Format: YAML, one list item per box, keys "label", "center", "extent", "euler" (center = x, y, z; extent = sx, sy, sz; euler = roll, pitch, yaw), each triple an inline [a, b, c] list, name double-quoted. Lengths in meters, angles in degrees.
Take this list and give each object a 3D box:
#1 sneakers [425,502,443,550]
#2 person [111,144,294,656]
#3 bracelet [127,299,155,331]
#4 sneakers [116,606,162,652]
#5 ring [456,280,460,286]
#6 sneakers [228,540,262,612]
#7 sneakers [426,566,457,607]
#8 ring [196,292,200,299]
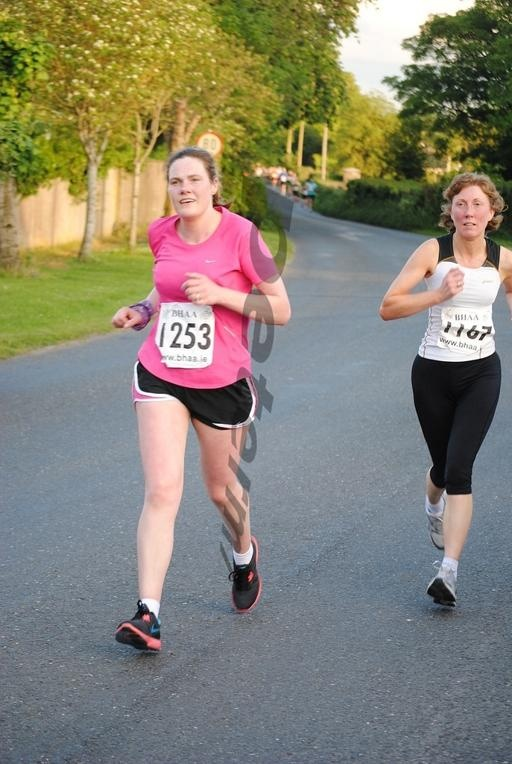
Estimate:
- label: "sneakers"
  center: [0.934, 0.748, 3.607]
  extent: [0.089, 0.228, 0.099]
  euler: [-8, 6, 6]
- label: "person"
  center: [-0.193, 0.043, 2.539]
  extent: [0.642, 1.317, 0.530]
  euler: [3, -1, -23]
- label: "bracelet"
  center: [-0.461, -0.276, 2.801]
  extent: [0.116, 0.132, 0.067]
  euler: [-1, -2, -8]
- label: "sneakers"
  center: [-0.377, 0.814, 2.262]
  extent: [0.082, 0.130, 0.141]
  euler: [2, -1, 31]
- label: "ring"
  center: [0.819, -0.398, 2.801]
  extent: [0.021, 0.018, 0.005]
  euler: [-3, -3, -21]
- label: "sneakers"
  center: [-0.043, 0.806, 2.816]
  extent: [0.095, 0.244, 0.099]
  euler: [-6, -21, 17]
- label: "sneakers"
  center: [0.778, 0.847, 2.853]
  extent: [0.097, 0.093, 0.206]
  euler: [26, -18, 16]
- label: "ring"
  center: [-0.192, -0.284, 2.263]
  extent: [0.019, 0.022, 0.006]
  euler: [-3, 9, -3]
